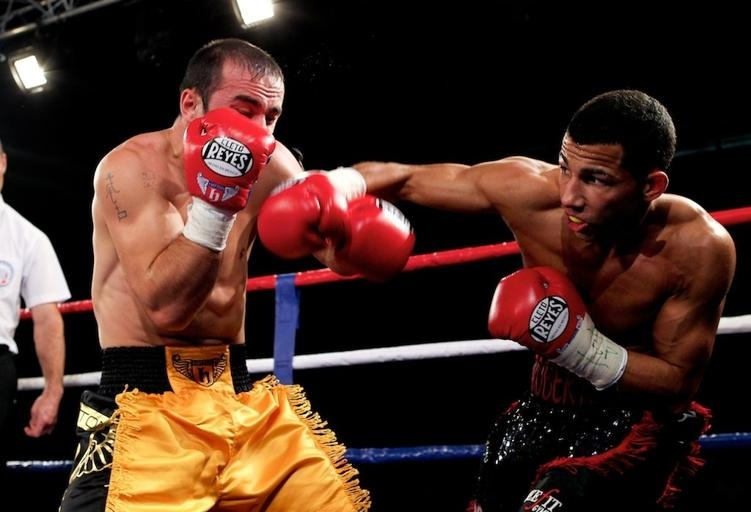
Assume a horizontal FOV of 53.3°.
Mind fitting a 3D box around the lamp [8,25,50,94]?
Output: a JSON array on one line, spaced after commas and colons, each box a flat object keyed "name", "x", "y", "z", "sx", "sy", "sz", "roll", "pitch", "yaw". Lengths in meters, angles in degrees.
[{"name": "lamp", "x": -2.770, "y": -1.500, "z": 5.994, "sx": 0.261, "sy": 0.469, "sz": 0.304, "roll": 1, "pitch": 0, "yaw": 17}]

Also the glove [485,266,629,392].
[{"name": "glove", "x": 0.823, "y": 0.349, "z": 3.410, "sx": 0.624, "sy": 0.421, "sz": 0.257, "roll": 29, "pitch": -11, "yaw": 4}]

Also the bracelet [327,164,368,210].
[{"name": "bracelet", "x": -0.137, "y": -0.304, "z": 3.243, "sx": 0.065, "sy": 0.132, "sz": 0.170, "roll": -22, "pitch": -36, "yaw": 37}]

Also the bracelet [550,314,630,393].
[{"name": "bracelet", "x": 0.928, "y": 0.398, "z": 3.296, "sx": 0.323, "sy": 0.268, "sz": 0.160, "roll": 39, "pitch": 16, "yaw": -1}]

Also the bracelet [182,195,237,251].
[{"name": "bracelet", "x": -0.666, "y": -0.120, "z": 3.091, "sx": 0.220, "sy": 0.211, "sz": 0.182, "roll": 18, "pitch": 0, "yaw": 15}]
